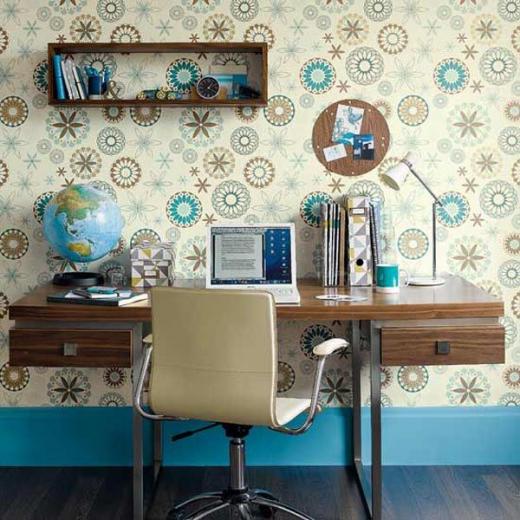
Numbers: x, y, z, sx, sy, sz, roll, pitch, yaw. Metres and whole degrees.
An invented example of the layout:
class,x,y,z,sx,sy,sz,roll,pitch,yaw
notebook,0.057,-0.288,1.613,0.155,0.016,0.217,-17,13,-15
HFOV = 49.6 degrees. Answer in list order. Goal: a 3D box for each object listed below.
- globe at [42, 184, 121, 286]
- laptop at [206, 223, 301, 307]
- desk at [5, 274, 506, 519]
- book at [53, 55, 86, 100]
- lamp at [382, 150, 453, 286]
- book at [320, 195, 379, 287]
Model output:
class,x,y,z,sx,sy,sz,roll,pitch,yaw
globe,-0.739,-0.115,2.354,0.293,0.435,0.238,1,10,-5
laptop,-0.031,-0.005,2.289,0.406,0.297,0.260,5,9,7
desk,-0.030,0.309,2.558,1.510,0.983,0.847,3,8,-6
book,-0.822,-0.786,2.420,0.134,0.225,0.196,-4,8,-15
lamp,0.657,-0.180,2.395,0.278,0.549,0.211,1,9,9
book,0.377,-0.092,2.383,0.241,0.374,0.096,4,9,2
